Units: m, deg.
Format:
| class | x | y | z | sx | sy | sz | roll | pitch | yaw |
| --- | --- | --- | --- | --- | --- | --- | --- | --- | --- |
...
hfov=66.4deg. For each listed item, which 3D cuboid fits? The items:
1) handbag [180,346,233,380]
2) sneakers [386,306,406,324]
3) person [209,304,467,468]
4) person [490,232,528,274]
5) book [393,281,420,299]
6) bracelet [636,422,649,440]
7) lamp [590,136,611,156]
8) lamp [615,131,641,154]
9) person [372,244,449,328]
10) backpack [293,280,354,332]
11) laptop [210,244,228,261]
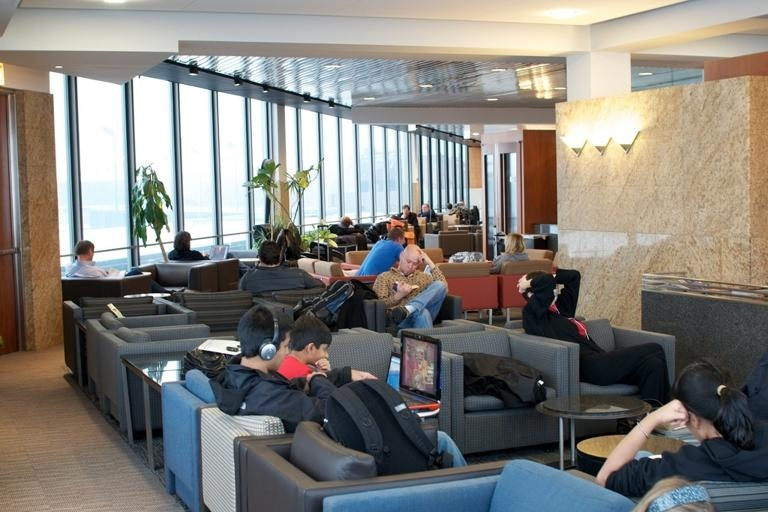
| class | x | y | z | sx | sy | sz | roll | pitch | yaw |
| --- | --- | --- | --- | --- | --- | --- | --- | --- | --- |
| handbag | -1.362 | 0.817 | 4.474 | 0.370 | 0.124 | 0.359 | 5 | 6 | 16 |
| sneakers | 0.125 | 0.626 | 6.156 | 0.147 | 0.128 | 0.305 | -9 | -8 | -7 |
| person | -0.198 | 0.734 | 3.444 | 1.625 | 0.867 | 0.842 | 0 | 2 | 4 |
| person | 2.361 | -0.068 | 11.071 | 0.954 | 0.823 | 0.555 | -3 | 6 | -16 |
| book | 0.232 | 0.386 | 6.712 | 0.181 | 0.124 | 0.242 | 2 | 9 | 44 |
| bracelet | 1.338 | 0.906 | 2.995 | 0.019 | 0.075 | 0.079 | -46 | 1 | -9 |
| lamp | 2.990 | -1.527 | 8.088 | 0.080 | 0.241 | 0.264 | -8 | 8 | -25 |
| lamp | 3.214 | -1.514 | 7.739 | 0.079 | 0.247 | 0.277 | 15 | 6 | -29 |
| person | 0.302 | 0.329 | 6.707 | 0.703 | 0.654 | 1.061 | -2 | 10 | -2 |
| backpack | -0.616 | 0.500 | 6.348 | 0.621 | 0.228 | 0.497 | -21 | 11 | -9 |
| laptop | -3.369 | -0.078 | 11.978 | 0.357 | 0.320 | 0.084 | 3 | -14 | 28 |
